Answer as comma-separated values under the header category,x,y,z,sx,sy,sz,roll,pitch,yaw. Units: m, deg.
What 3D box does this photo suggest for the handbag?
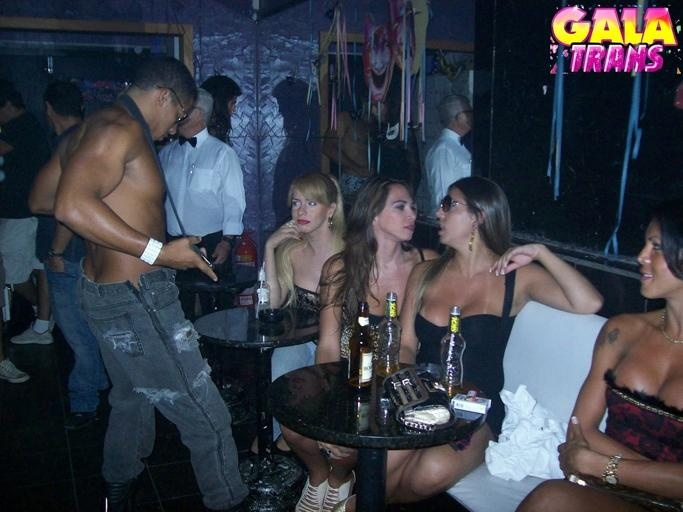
category,x,y,z,sx,sy,sz,roll,pitch,yaw
handbag,0.331,0.611,2.382,0.156,0.106,0.269,0,15,-4

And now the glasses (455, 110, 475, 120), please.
category,x,y,z,sx,sy,sz,roll,pitch,yaw
glasses,0.998,-1.135,4.651,0.103,0.055,0.142,3,12,2

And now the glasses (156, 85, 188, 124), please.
category,x,y,z,sx,sy,sz,roll,pitch,yaw
glasses,-0.891,-0.784,2.921,0.046,0.156,0.155,-34,-11,8

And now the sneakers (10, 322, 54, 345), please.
category,x,y,z,sx,sy,sz,roll,pitch,yaw
sneakers,-2.800,0.720,5.273,0.414,0.183,0.153,3,5,-13

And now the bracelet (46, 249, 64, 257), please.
category,x,y,z,sx,sy,sz,roll,pitch,yaw
bracelet,-1.962,-0.015,3.918,0.070,0.035,0.054,-13,17,-29

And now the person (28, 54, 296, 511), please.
category,x,y,z,sx,sy,sz,roll,pitch,yaw
person,-0.979,0.219,2.948,0.886,2.366,0.775,-5,15,-13

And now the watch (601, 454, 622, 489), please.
category,x,y,z,sx,sy,sz,roll,pitch,yaw
watch,1.104,0.875,2.357,0.071,0.118,0.107,15,41,16

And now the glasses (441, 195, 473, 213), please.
category,x,y,z,sx,sy,sz,roll,pitch,yaw
glasses,0.597,-0.263,3.043,0.099,0.043,0.095,13,0,-11

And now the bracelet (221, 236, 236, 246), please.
category,x,y,z,sx,sy,sz,roll,pitch,yaw
bracelet,-0.912,-0.129,4.637,0.093,0.071,0.069,28,19,22
